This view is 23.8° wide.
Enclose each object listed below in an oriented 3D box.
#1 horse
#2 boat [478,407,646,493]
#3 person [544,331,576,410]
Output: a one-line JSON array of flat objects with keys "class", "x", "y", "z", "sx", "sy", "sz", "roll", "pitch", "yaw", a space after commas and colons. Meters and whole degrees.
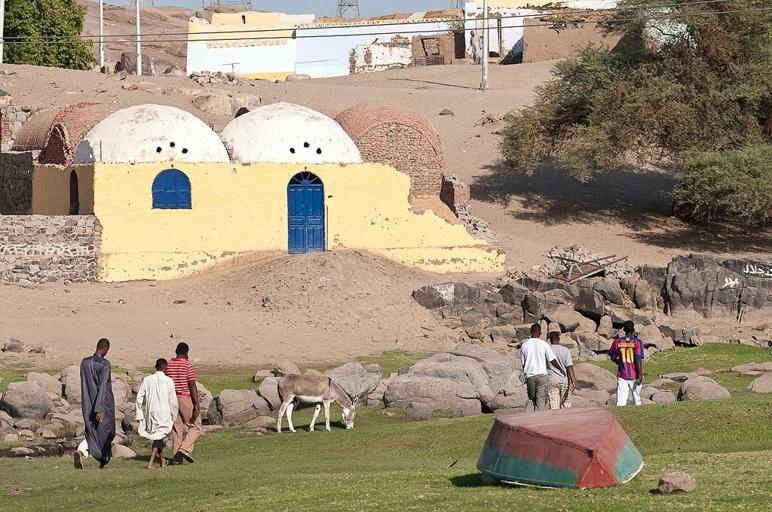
[{"class": "horse", "x": -2.640, "y": 5.392, "z": 67.634, "sx": 2.820, "sy": 2.106, "sz": 1.454, "roll": -1, "pitch": -1, "yaw": -3}, {"class": "boat", "x": 6.157, "y": 6.126, "z": 63.975, "sx": 6.254, "sy": 1.473, "sz": 6.127, "roll": 2, "pitch": 16, "yaw": 4}, {"class": "person", "x": 6.525, "y": 4.367, "z": 65.898, "sx": 1.354, "sy": 3.219, "sz": 1.114, "roll": -6, "pitch": -4, "yaw": 40}]
